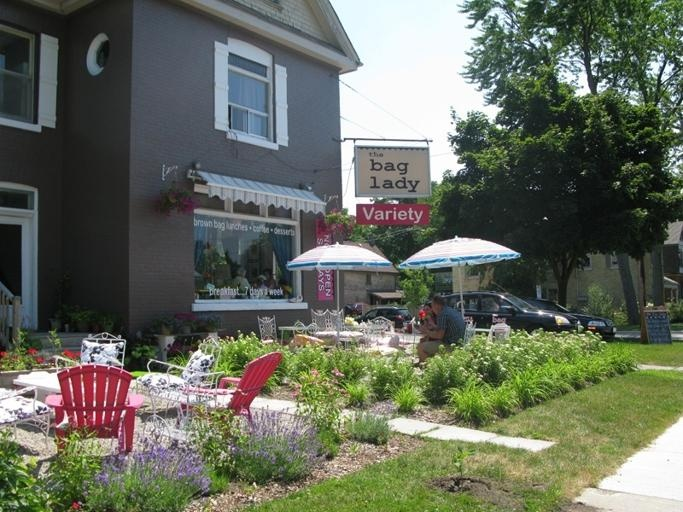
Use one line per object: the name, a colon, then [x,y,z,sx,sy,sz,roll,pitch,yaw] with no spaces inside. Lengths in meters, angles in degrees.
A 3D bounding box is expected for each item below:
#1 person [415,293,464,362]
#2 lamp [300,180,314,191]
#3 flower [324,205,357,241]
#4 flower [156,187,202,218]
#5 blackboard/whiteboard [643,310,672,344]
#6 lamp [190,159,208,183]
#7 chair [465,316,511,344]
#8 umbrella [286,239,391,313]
person: [2.029,1.696,14.929,1.002,1.783,0.725,4,6,8]
lamp: [-0.989,-2.031,20.469,0.290,0.223,0.307,-1,-2,-38]
flower: [-0.040,-0.974,20.870,0.876,1.046,1.417,-1,-4,-1]
flower: [-3.903,-1.285,16.751,0.650,0.698,0.721,1,4,0]
blackboard/whiteboard: [9.602,2.181,21.810,0.805,1.398,0.451,-2,-3,-16]
lamp: [-3.548,-2.091,17.629,0.172,0.546,0.520,1,-7,19]
chair: [3.344,1.657,15.760,1.268,0.705,0.772,-2,-2,7]
umbrella: [0.196,0.154,17.430,2.010,1.466,2.054,7,-8,-40]
